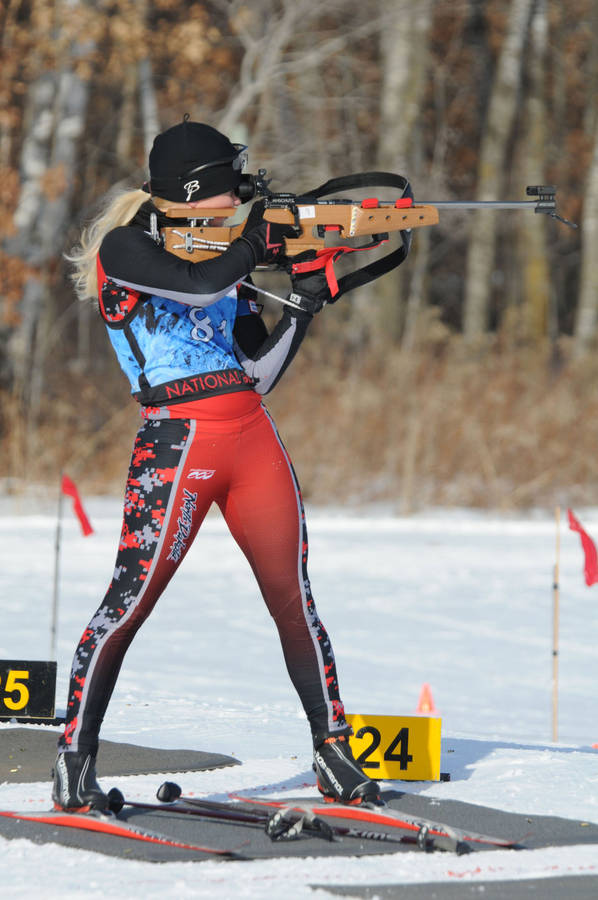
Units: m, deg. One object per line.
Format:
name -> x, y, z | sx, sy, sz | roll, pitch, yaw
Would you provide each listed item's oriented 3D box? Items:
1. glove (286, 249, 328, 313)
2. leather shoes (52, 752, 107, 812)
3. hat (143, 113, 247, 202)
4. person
glove -> 0.031, -0.451, 2.987 | 0.081, 0.146, 0.127 | 14, -2, 26
leather shoes -> -0.545, 0.822, 2.789 | 0.135, 0.159, 0.082 | -3, 8, -11
hat -> -0.254, -0.768, 2.971 | 0.280, 0.180, 0.205 | -9, 32, -1
person -> -0.259, 0.039, 2.953 | 0.843, 1.796, 0.520 | -3, 8, -9
